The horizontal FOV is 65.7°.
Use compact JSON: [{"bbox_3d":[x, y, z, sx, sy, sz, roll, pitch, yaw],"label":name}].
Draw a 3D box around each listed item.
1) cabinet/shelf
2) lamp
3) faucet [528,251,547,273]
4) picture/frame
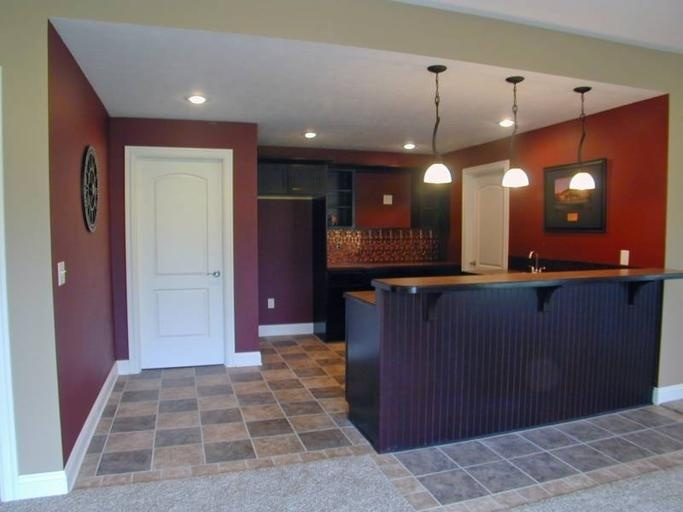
[{"bbox_3d":[-0.005,-0.078,6.563,2.428,2.284,0.799,-1,2,-20],"label":"cabinet/shelf"},{"bbox_3d":[1.623,-1.137,5.043,1.454,1.064,2.325,9,13,40],"label":"lamp"},{"bbox_3d":[2.229,0.061,5.972,0.130,0.246,0.240,2,-2,-17],"label":"faucet"},{"bbox_3d":[2.449,-0.644,5.465,0.079,0.809,0.801,-1,2,-22],"label":"picture/frame"}]
